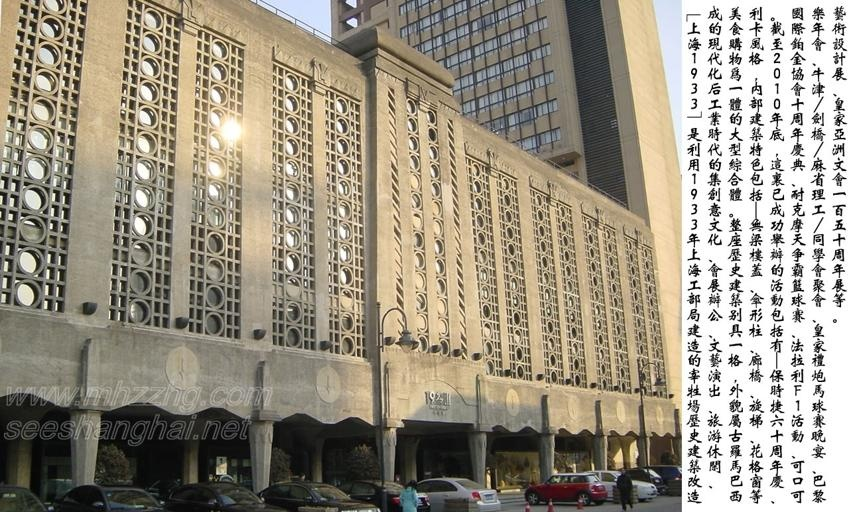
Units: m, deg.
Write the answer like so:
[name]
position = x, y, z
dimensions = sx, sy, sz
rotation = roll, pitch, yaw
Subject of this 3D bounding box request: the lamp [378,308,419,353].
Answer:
[lamp]
position = -1.659, 4.090, 63.530
dimensions = 2.382, 3.147, 1.485
rotation = -8, 26, -18
